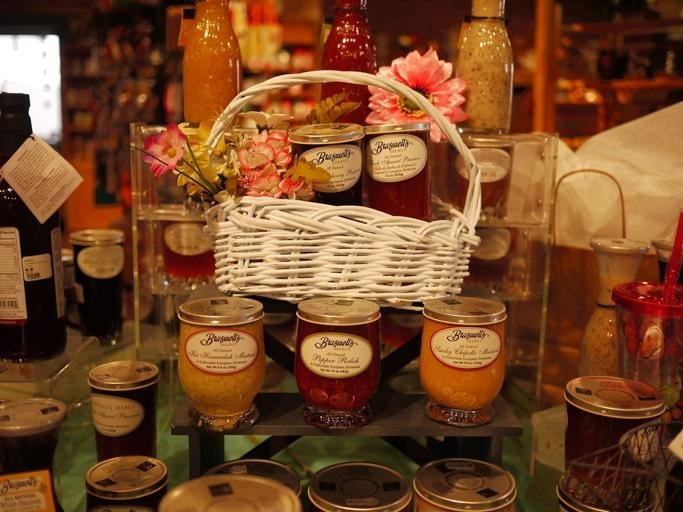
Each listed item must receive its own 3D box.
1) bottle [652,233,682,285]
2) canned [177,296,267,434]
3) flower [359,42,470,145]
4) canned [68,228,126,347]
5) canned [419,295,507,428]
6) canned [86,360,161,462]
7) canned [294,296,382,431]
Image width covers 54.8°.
[{"bbox_3d":[0.671,0.012,1.345,0.078,0.095,0.075,-4,10,1],"label":"bottle"},{"bbox_3d":[-0.216,0.193,1.197,0.154,0.217,0.108,-4,14,-13],"label":"canned"},{"bbox_3d":[0.164,-0.341,1.362,0.218,0.190,0.067,-11,2,-11],"label":"flower"},{"bbox_3d":[-0.575,0.076,1.580,0.116,0.268,0.064,-7,15,-21],"label":"canned"},{"bbox_3d":[0.233,0.189,1.211,0.176,0.218,0.117,-3,14,-6],"label":"canned"},{"bbox_3d":[-0.418,0.304,1.282,0.103,0.180,0.113,8,16,34],"label":"canned"},{"bbox_3d":[-0.008,0.189,1.203,0.153,0.223,0.132,-2,14,-4],"label":"canned"}]
